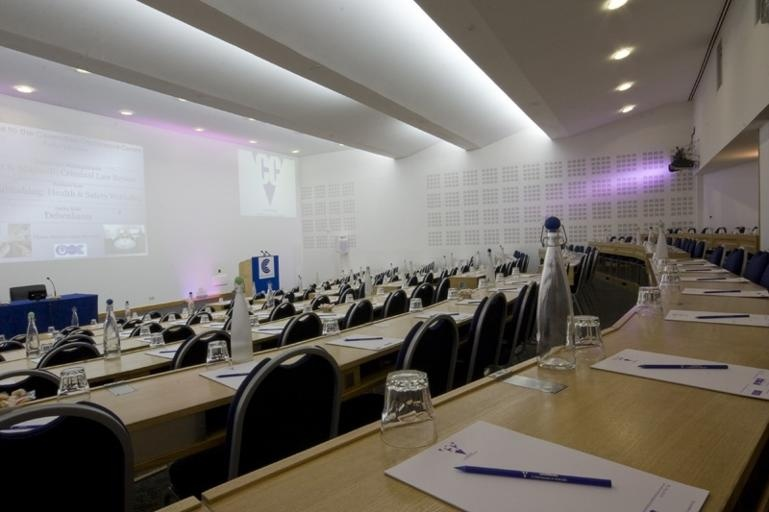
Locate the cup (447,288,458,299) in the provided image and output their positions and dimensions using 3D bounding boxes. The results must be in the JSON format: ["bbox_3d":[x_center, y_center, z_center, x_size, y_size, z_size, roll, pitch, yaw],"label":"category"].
[{"bbox_3d":[0.690,0.385,4.503,0.094,0.095,0.096,-1,-4,0],"label":"cup"}]

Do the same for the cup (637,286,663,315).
[{"bbox_3d":[1.439,0.245,2.465,0.139,0.154,0.139,-1,-1,0],"label":"cup"}]

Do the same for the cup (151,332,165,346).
[{"bbox_3d":[-1.867,0.687,3.703,0.100,0.098,0.099,-2,-4,0],"label":"cup"}]

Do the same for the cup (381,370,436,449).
[{"bbox_3d":[0.068,0.471,1.446,0.199,0.217,0.193,-1,0,0],"label":"cup"}]

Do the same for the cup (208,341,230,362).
[{"bbox_3d":[-1.018,0.576,2.777,0.119,0.117,0.118,-1,3,0],"label":"cup"}]

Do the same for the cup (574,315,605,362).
[{"bbox_3d":[0.833,0.342,1.828,0.129,0.183,0.187,-1,-8,2],"label":"cup"}]

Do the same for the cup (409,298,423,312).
[{"bbox_3d":[0.287,0.435,3.958,0.110,0.098,0.112,-1,-2,0],"label":"cup"}]

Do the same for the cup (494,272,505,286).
[{"bbox_3d":[1.534,0.304,5.856,0.160,0.156,0.158,0,-4,0],"label":"cup"}]

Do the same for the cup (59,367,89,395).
[{"bbox_3d":[-1.474,0.589,2.114,0.112,0.118,0.148,-5,3,-40],"label":"cup"}]

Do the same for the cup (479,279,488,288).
[{"bbox_3d":[1.165,0.320,5.238,0.095,0.106,0.096,0,-4,0],"label":"cup"}]

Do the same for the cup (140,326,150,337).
[{"bbox_3d":[-2.455,0.780,4.606,0.077,0.076,0.130,0,5,-17],"label":"cup"}]

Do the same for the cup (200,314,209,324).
[{"bbox_3d":[-2.030,0.714,5.081,0.104,0.106,0.084,-1,-6,-3],"label":"cup"}]

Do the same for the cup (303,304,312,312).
[{"bbox_3d":[-0.846,0.582,4.968,0.076,0.084,0.141,-1,-3,-10],"label":"cup"}]

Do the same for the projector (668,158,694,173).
[{"bbox_3d":[6.839,-2.104,10.374,0.392,0.194,0.527,-3,-1,-29],"label":"projector"}]
